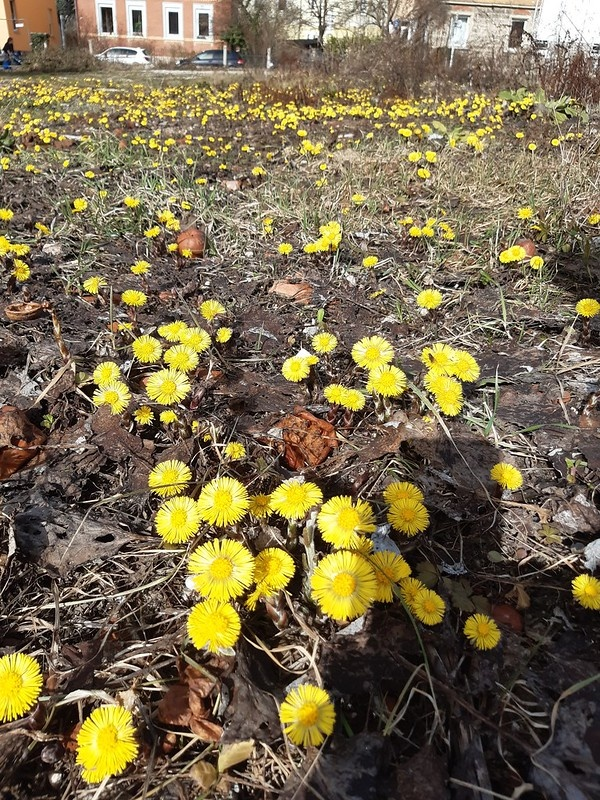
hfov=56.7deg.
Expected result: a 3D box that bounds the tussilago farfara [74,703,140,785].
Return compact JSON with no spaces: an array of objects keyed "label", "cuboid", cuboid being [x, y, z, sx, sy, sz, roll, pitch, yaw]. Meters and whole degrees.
[{"label":"tussilago farfara","cuboid":[-0.325,0.567,0.931,0.098,0.052,0.110,-1,25,-7]}]

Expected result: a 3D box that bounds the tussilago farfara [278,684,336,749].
[{"label":"tussilago farfara","cuboid":[0.011,0.525,0.921,0.099,0.041,0.103,-13,40,-12]}]
